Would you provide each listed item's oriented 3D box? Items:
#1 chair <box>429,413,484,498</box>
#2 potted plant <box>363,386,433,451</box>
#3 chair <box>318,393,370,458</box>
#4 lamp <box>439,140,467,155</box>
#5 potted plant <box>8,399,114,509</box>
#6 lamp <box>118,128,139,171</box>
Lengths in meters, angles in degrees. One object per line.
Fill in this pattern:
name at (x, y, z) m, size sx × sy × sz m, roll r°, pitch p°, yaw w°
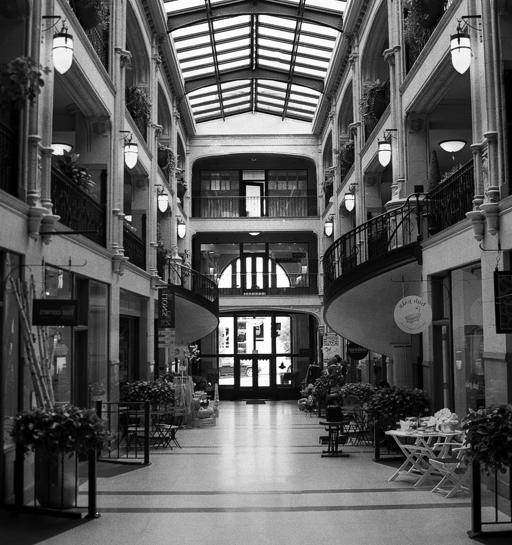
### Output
chair at (2.316, 2.287, 8.550) m, size 0.461 × 0.700 × 2.055 m, roll -3°, pitch -13°, yaw 15°
potted plant at (2.120, 2.094, 10.672) m, size 0.679 × 0.866 × 0.761 m, roll -16°, pitch -3°, yaw -9°
chair at (1.535, 2.772, 12.842) m, size 0.532 × 1.134 × 1.995 m, roll 0°, pitch -6°, yaw 3°
lamp at (3.600, -2.326, 13.122) m, size 0.325 × 0.174 × 0.381 m, roll 1°, pitch -14°, yaw 4°
potted plant at (-2.056, 1.712, 7.383) m, size 1.023 × 1.377 × 1.087 m, roll 3°, pitch 6°, yaw -13°
lamp at (-2.273, -2.186, 12.602) m, size 0.270 × 0.767 × 0.344 m, roll -3°, pitch -6°, yaw 8°
